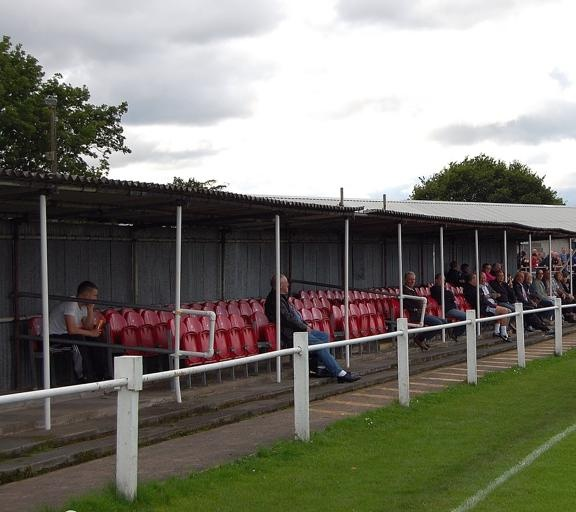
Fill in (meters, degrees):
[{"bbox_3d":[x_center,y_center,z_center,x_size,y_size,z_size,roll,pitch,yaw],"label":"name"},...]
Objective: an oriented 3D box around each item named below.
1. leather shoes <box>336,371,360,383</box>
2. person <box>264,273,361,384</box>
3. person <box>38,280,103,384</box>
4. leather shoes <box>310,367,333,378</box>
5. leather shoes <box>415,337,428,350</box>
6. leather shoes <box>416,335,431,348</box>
[{"bbox_3d":[0.917,1.797,12.305,0.404,0.186,0.157,0,2,-8],"label":"leather shoes"},{"bbox_3d":[0.293,1.083,12.635,1.015,1.641,1.401,-3,0,-29],"label":"person"},{"bbox_3d":[-2.898,1.053,11.384,0.807,1.433,0.728,-3,0,-27],"label":"person"},{"bbox_3d":[0.503,1.739,12.373,0.376,0.165,0.134,0,-2,1],"label":"leather shoes"},{"bbox_3d":[2.515,1.622,15.457,0.187,0.137,0.292,5,-7,-21],"label":"leather shoes"},{"bbox_3d":[2.542,1.608,15.463,0.201,0.143,0.311,9,34,-44],"label":"leather shoes"}]
